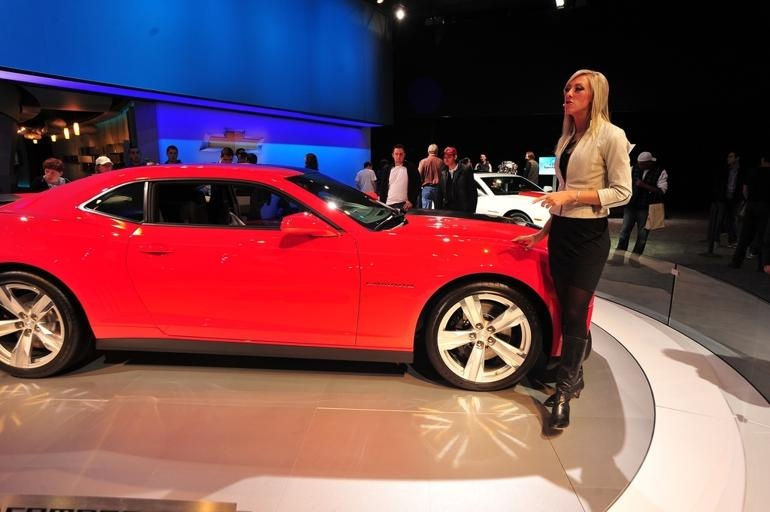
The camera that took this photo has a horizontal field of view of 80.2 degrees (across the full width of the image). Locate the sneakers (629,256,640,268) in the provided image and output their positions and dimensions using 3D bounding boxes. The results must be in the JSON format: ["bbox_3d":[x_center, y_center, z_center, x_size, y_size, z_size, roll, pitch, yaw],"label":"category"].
[{"bbox_3d":[2.992,0.074,5.488,0.104,0.104,0.116,-3,-3,20],"label":"sneakers"}]

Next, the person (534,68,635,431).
[{"bbox_3d":[1.492,-0.090,3.510,0.575,2.550,0.846,9,20,25],"label":"person"}]

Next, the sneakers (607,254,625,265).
[{"bbox_3d":[2.898,0.050,5.733,0.126,0.114,0.126,6,26,-16],"label":"sneakers"}]

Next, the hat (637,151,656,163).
[{"bbox_3d":[4.519,-1.669,7.905,0.327,0.187,0.471,-1,8,34],"label":"hat"}]

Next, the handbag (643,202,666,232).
[{"bbox_3d":[4.508,-0.651,7.648,0.239,0.449,0.198,13,22,34],"label":"handbag"}]
